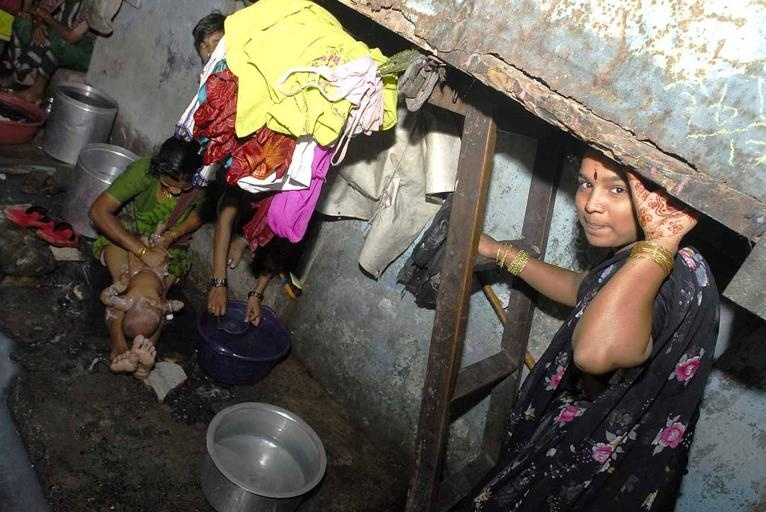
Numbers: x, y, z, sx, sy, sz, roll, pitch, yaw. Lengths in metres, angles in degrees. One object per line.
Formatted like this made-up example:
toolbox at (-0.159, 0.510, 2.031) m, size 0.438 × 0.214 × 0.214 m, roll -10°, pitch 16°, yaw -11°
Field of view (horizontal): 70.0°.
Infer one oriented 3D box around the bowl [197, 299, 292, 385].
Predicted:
bowl at (-1.084, 0.699, 4.088) m, size 0.620 × 0.248 × 0.571 m, roll 23°, pitch 38°, yaw -20°

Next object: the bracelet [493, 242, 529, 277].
bracelet at (0.646, 0.014, 2.757) m, size 0.168 × 0.183 × 0.137 m, roll 17°, pitch 20°, yaw 34°

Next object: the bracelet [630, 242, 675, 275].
bracelet at (1.059, -0.014, 2.186) m, size 0.126 × 0.098 × 0.138 m, roll 11°, pitch 10°, yaw -41°
